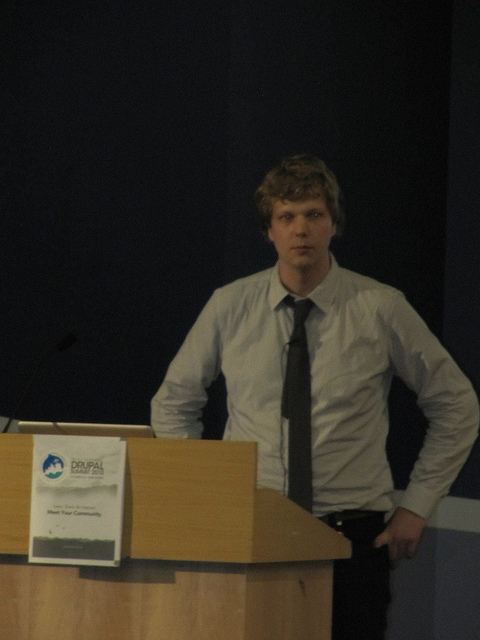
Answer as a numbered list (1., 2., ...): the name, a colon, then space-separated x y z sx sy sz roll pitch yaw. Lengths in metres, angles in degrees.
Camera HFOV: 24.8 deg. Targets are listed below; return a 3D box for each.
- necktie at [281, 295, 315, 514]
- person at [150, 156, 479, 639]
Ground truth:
1. necktie: 0.146 0.198 2.761 0.084 0.578 0.142 0 -14 3
2. person: 0.195 0.189 2.874 0.844 1.248 0.361 0 -14 6
